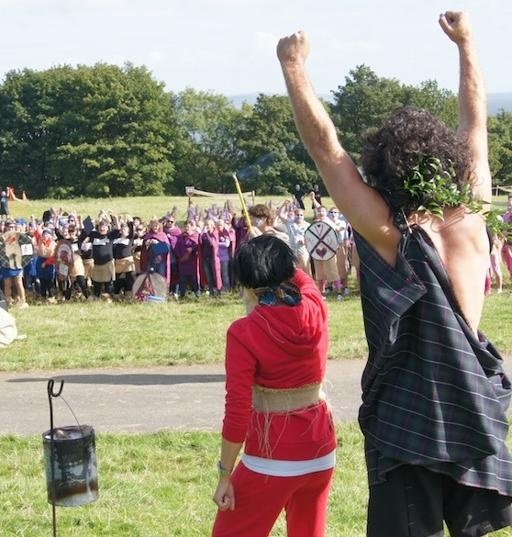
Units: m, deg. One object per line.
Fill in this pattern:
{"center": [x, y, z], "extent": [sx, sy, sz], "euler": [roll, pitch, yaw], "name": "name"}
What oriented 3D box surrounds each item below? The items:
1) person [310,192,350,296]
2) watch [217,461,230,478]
{"center": [0.915, -0.189, 17.311], "extent": [0.676, 0.569, 2.013], "euler": [-12, 20, 4], "name": "person"}
{"center": [-0.174, 1.030, 6.266], "extent": [0.058, 0.051, 0.074], "euler": [-1, 9, -29], "name": "watch"}
